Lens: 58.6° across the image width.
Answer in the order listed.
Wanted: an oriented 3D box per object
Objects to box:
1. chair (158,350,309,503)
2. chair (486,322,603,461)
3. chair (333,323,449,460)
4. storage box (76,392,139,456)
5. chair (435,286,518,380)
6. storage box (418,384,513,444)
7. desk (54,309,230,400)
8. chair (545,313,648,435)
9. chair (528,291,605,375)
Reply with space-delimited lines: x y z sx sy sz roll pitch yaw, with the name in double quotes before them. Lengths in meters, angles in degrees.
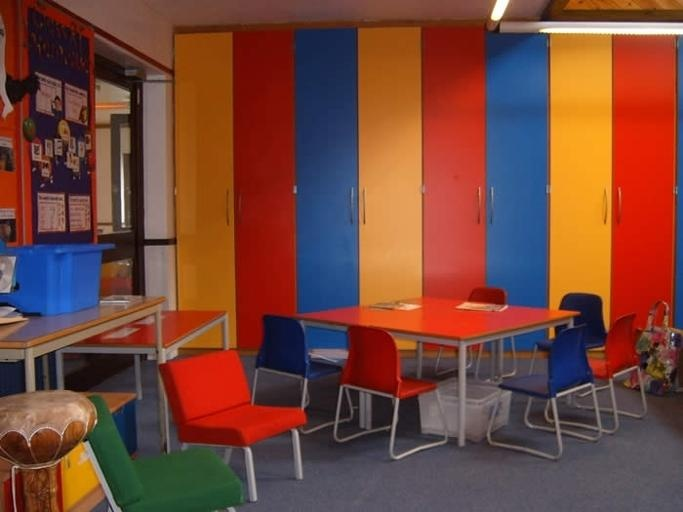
"chair" -0.666 1.023 3.771 0.750 0.825 0.782 -3 -2 10
"chair" 1.489 0.955 4.454 0.701 0.877 0.732 1 5 21
"chair" 0.353 0.937 4.461 0.742 0.933 0.735 -4 6 -22
"storage box" -1.621 1.201 4.143 0.321 0.462 0.438 11 -22 -34
"chair" 1.258 0.784 5.992 0.670 0.900 0.687 -5 5 -2
"storage box" 0.935 1.165 4.656 0.454 0.319 0.471 1 4 36
"desk" -1.516 0.732 4.482 0.457 0.439 0.859 1 6 12
"chair" 2.096 0.904 4.877 0.607 0.861 0.569 -5 -3 42
"chair" 2.161 0.809 5.542 0.659 0.908 0.655 -3 -1 -20
